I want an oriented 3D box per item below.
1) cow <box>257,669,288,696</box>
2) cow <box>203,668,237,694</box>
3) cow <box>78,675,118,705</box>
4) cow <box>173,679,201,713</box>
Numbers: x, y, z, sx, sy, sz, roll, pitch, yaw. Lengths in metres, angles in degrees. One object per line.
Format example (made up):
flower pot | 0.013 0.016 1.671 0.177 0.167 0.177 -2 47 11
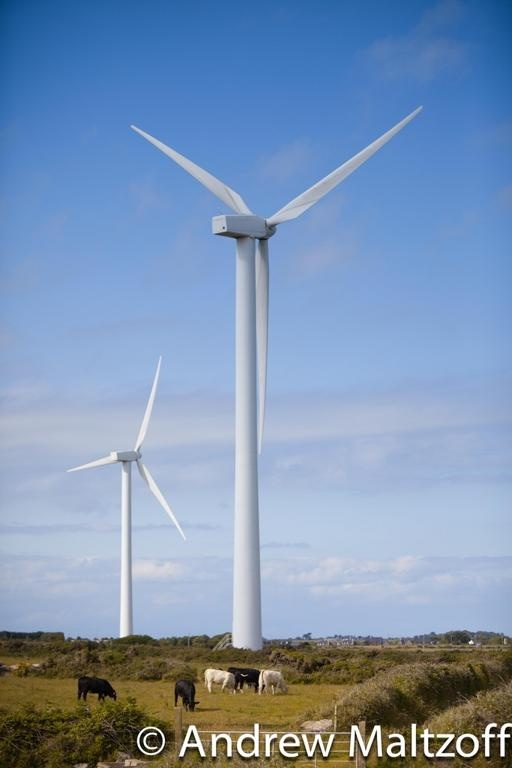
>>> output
cow | 0.535 10.772 35.671 1.021 0.768 0.654 -2 -7 3
cow | -1.395 10.804 35.884 1.094 0.685 0.789 -3 -7 14
cow | -5.566 10.584 34.180 1.265 0.738 1.054 -1 -7 -3
cow | -2.356 10.350 33.298 0.503 0.738 1.399 4 0 -8
